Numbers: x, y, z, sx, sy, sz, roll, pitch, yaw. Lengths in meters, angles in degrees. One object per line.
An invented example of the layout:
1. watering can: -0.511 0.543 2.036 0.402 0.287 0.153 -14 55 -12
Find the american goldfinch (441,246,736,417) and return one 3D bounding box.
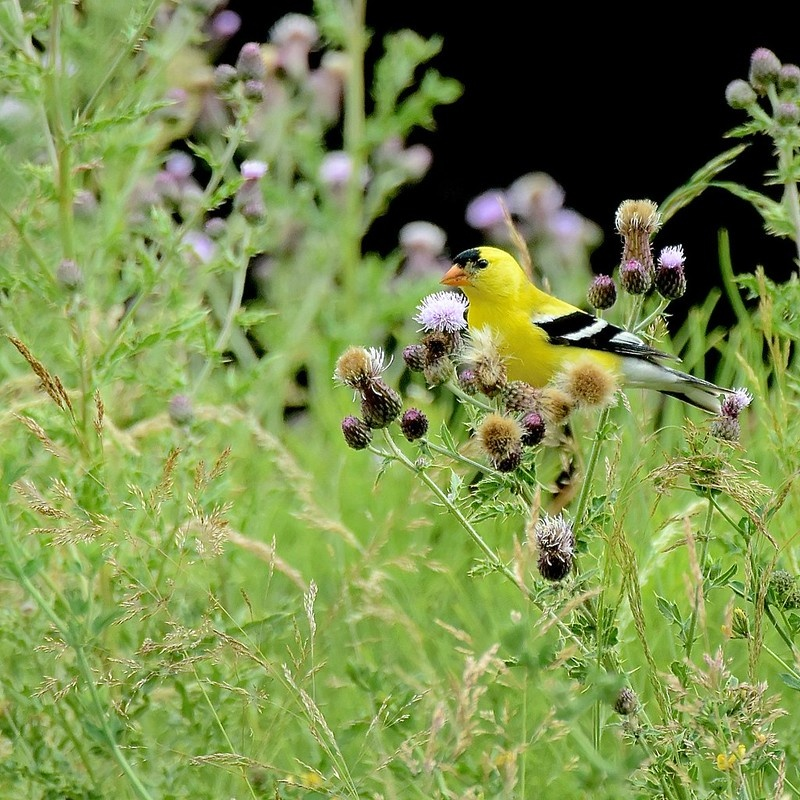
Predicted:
1. american goldfinch: 0.491 -0.137 2.930 0.725 0.476 0.263 2 -6 -5
